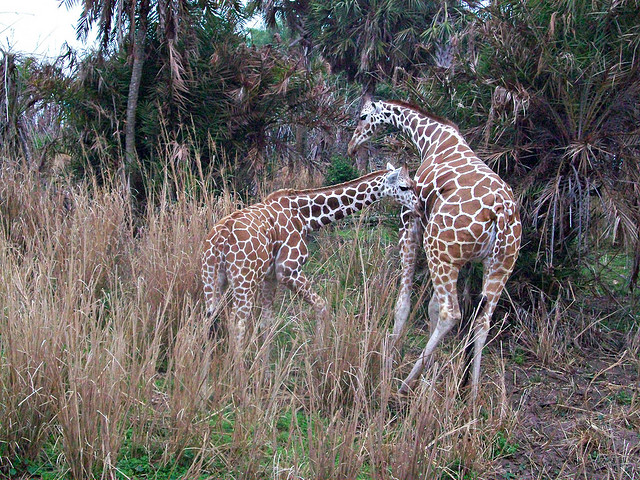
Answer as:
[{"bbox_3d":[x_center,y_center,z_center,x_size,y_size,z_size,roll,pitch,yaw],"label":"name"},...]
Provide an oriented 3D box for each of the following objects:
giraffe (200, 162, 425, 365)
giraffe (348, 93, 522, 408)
[{"bbox_3d":[-0.082,0.286,7.040,2.350,1.972,0.721,-7,17,-19],"label":"giraffe"},{"bbox_3d":[1.130,-0.104,7.583,0.812,3.056,2.920,2,11,-21],"label":"giraffe"}]
